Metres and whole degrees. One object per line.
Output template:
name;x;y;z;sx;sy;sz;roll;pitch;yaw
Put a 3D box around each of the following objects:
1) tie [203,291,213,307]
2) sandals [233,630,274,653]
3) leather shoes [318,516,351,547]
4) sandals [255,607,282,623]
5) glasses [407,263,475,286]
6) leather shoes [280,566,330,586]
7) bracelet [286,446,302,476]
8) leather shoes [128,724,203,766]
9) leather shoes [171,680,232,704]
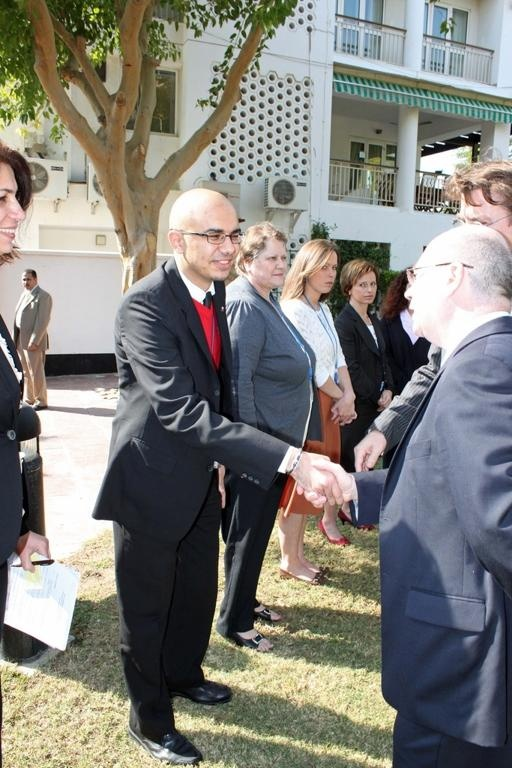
tie;-0.185;-0.321;2.327;0.013;0.049;0.036;14;16;35
sandals;-0.026;1.259;3.008;0.149;0.040;0.079;3;4;29
leather shoes;0.572;1.106;4.479;0.095;0.117;0.274;-2;1;-33
sandals;0.060;1.245;3.299;0.144;0.052;0.058;1;2;33
glasses;0.418;-0.246;1.366;0.144;0.038;0.138;-11;8;2
leather shoes;0.288;1.195;3.770;0.202;0.055;0.119;-1;-1;13
bracelet;0.119;0.249;1.995;0.032;0.073;0.064;13;-21;-10
leather shoes;-0.323;1.297;2.186;0.253;0.102;0.096;3;5;34
leather shoes;-0.233;1.272;2.540;0.219;0.087;0.099;-2;5;5
